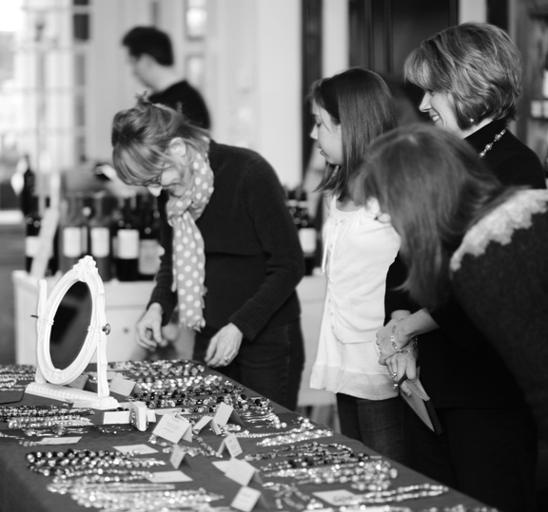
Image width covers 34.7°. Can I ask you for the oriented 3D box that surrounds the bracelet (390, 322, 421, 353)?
[{"bbox_3d":[0.298,0.189,1.982,0.061,0.068,0.049,0,2,-7],"label":"bracelet"}]

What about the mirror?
[{"bbox_3d":[-0.490,0.179,2.120,0.314,0.357,0.068,0,-2,43],"label":"mirror"}]

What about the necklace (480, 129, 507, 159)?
[{"bbox_3d":[0.502,-0.254,1.997,0.020,0.093,0.022,37,-13,-17],"label":"necklace"}]
